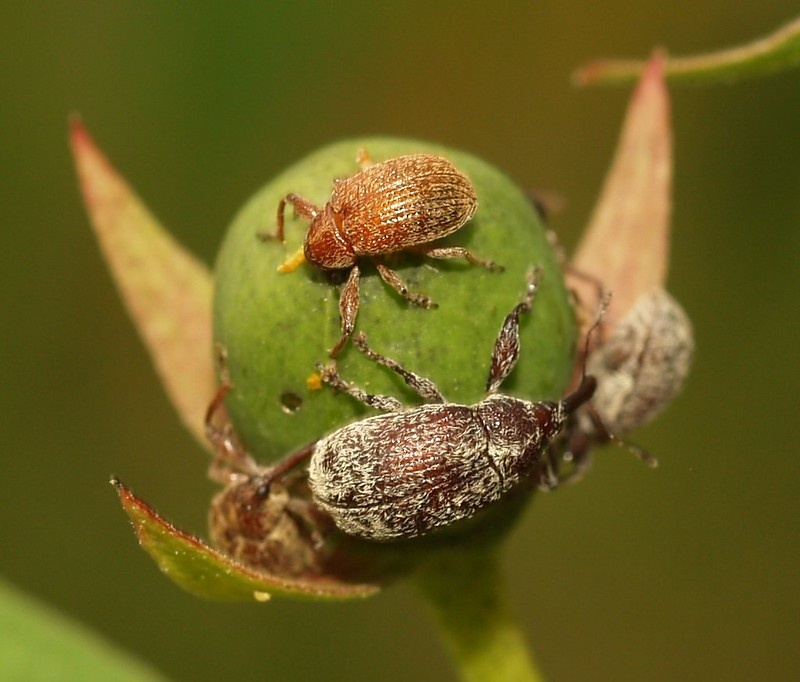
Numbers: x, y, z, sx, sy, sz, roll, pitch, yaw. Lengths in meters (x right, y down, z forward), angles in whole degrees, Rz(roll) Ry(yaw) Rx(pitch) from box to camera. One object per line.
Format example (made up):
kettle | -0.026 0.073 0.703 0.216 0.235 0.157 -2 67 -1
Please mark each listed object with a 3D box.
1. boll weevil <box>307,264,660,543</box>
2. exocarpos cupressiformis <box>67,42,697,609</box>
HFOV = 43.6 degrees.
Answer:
boll weevil | 0.189 0.303 3.125 0.947 0.261 0.776 -17 92 -12
exocarpos cupressiformis | 0.024 0.142 3.668 1.879 1.807 1.855 -13 80 34
